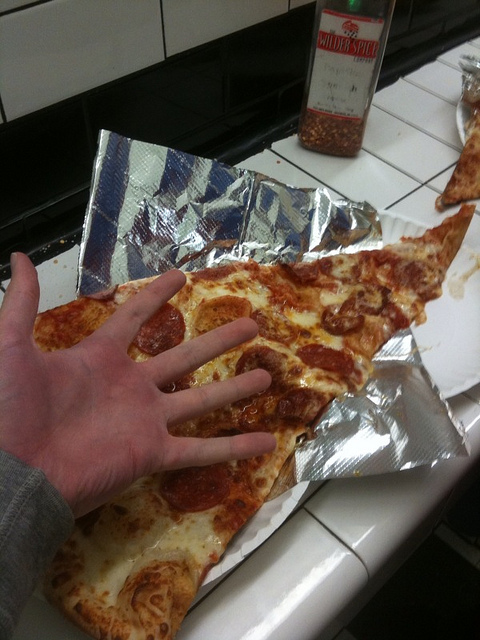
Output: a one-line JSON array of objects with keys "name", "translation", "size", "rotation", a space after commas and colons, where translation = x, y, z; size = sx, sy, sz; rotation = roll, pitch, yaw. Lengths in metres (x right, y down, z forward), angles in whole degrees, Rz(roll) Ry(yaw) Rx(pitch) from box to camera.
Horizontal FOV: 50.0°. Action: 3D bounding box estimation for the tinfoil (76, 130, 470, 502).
[{"name": "tinfoil", "translation": [0.024, 0.010, 0.612], "size": [0.436, 0.052, 0.379], "rotation": [-16, 62, -21]}]
